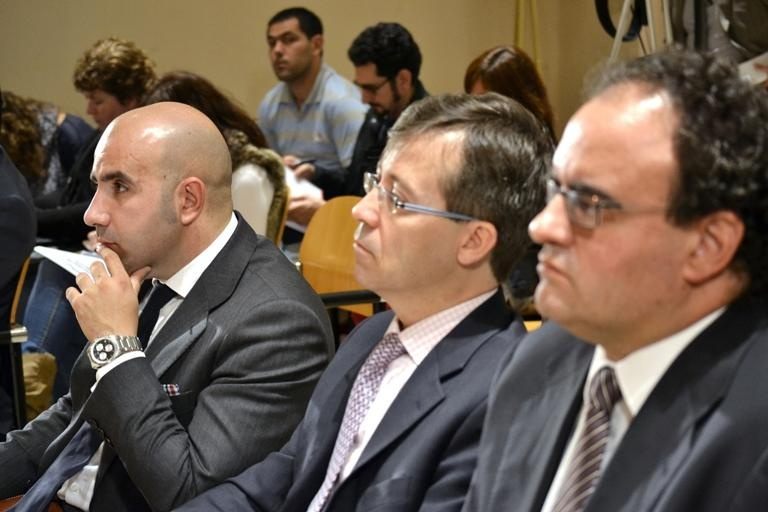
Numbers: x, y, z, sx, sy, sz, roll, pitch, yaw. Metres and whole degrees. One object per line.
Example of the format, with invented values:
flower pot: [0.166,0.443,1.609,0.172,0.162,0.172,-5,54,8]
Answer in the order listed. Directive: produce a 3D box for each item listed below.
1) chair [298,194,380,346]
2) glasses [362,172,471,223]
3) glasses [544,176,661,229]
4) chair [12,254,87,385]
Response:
chair: [-0.230,0.066,3.343,0.307,0.597,0.836,-4,11,-7]
glasses: [0.064,-0.135,1.770,0.304,0.119,0.107,2,12,28]
glasses: [0.417,-0.087,1.340,0.185,0.078,0.039,2,11,25]
chair: [-1.865,0.288,3.796,0.301,0.524,0.301,14,-18,2]
